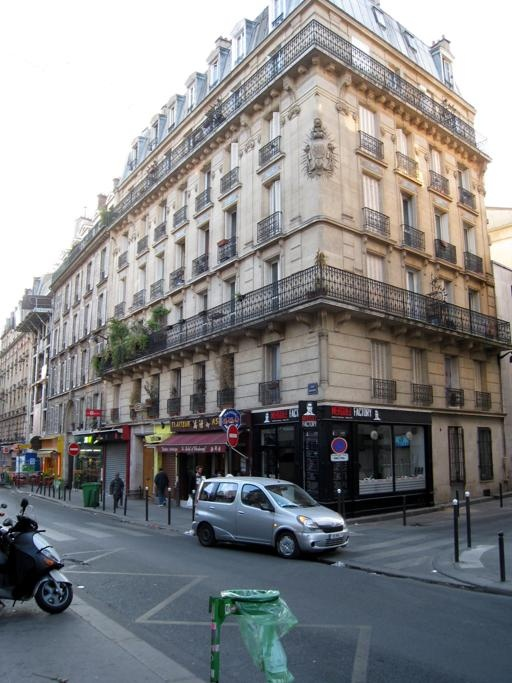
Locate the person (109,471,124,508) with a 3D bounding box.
[{"bbox_3d":[-4.972,5.411,23.019,0.395,1.306,1.551,4,-15,-13],"label":"person"}]

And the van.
[{"bbox_3d":[0.364,3.468,12.883,2.762,1.224,1.506,-15,-21,41],"label":"van"}]
